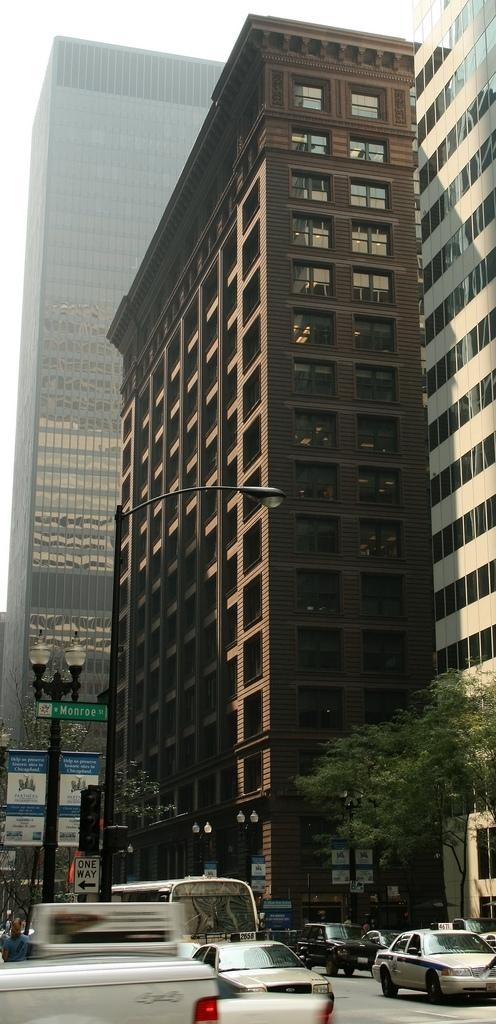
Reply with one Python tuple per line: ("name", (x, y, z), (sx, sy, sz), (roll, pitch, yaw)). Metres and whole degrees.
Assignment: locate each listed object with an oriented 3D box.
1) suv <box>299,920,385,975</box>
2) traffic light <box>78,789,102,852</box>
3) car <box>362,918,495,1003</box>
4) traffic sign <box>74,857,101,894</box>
("suv", (3.116, 15.877, 35.453), (1.670, 1.756, 3.383), (6, -32, -14))
("traffic light", (-2.917, 5.752, 17.933), (0.354, 1.200, 0.464), (4, -17, -14))
("car", (4.876, 11.237, 23.794), (2.103, 1.671, 5.476), (2, -21, -10))
("traffic sign", (-2.923, 6.660, 17.621), (0.538, 0.965, 0.089), (3, -10, -16))
